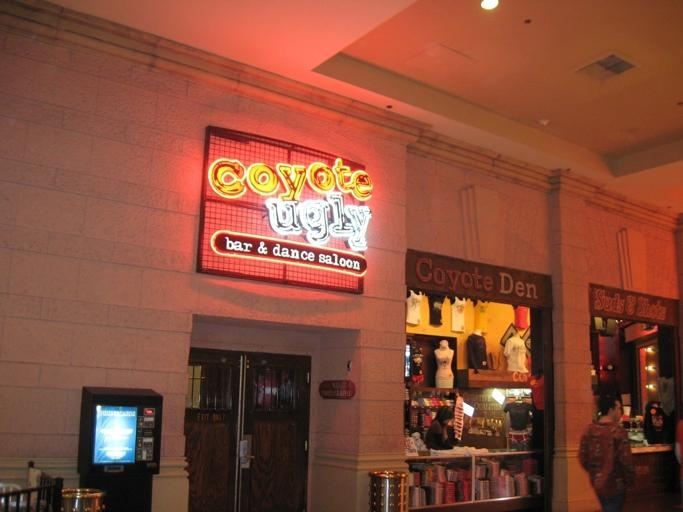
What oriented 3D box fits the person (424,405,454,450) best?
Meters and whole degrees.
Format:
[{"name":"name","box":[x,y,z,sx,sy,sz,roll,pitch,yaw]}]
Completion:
[{"name":"person","box":[1.665,2.792,9.900,0.388,0.677,1.080,-8,-18,24]}]

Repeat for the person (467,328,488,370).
[{"name":"person","box":[2.478,1.717,11.134,0.343,0.800,0.752,-3,-17,10]}]

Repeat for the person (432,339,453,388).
[{"name":"person","box":[1.801,1.917,10.698,0.317,0.831,0.389,-3,-17,7]}]

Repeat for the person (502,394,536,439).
[{"name":"person","box":[3.124,2.860,10.700,0.687,0.939,0.328,-1,-23,5]}]

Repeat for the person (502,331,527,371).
[{"name":"person","box":[3.298,1.819,11.538,0.437,0.757,0.328,-5,-17,15]}]
